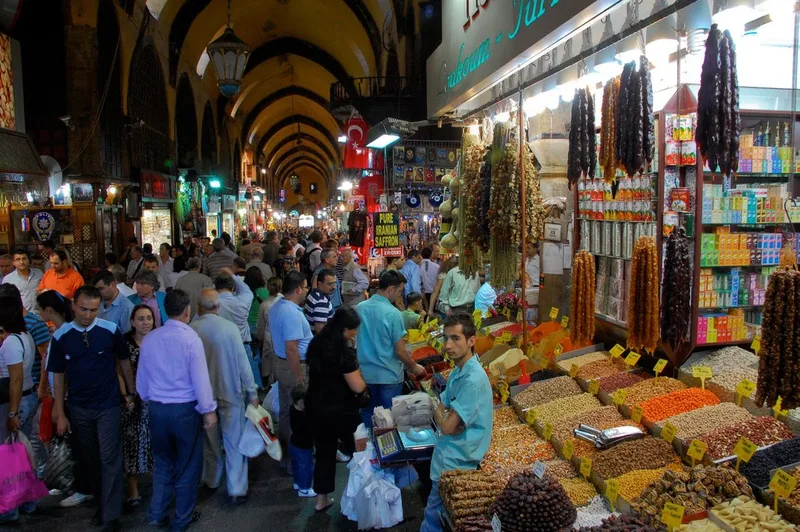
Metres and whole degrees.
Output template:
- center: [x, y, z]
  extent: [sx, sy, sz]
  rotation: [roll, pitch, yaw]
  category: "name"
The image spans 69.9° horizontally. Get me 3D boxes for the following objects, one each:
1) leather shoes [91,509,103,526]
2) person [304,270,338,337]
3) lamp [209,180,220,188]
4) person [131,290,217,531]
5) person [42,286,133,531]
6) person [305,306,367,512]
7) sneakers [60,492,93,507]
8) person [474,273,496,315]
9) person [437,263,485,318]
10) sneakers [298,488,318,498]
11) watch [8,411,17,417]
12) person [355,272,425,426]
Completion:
- center: [-2.921, 2.446, 5.515]
  extent: [0.073, 0.103, 0.236]
  rotation: [7, 21, -29]
  category: "leather shoes"
- center: [-0.920, 0.452, 6.626]
  extent: [0.342, 1.174, 0.493]
  rotation: [-3, 15, -19]
  category: "person"
- center: [-6.760, -2.999, 20.979]
  extent: [0.162, 0.276, 0.466]
  rotation: [-1, 4, 21]
  category: "lamp"
- center: [-2.125, 1.381, 5.440]
  extent: [0.728, 2.280, 0.265]
  rotation: [-2, 2, 8]
  category: "person"
- center: [-2.970, 1.352, 5.517]
  extent: [0.644, 1.751, 0.435]
  rotation: [-3, 2, -2]
  category: "person"
- center: [-0.636, 1.448, 5.696]
  extent: [0.597, 2.103, 0.574]
  rotation: [7, 12, 19]
  category: "person"
- center: [-3.302, 2.381, 5.882]
  extent: [0.314, 0.151, 0.124]
  rotation: [6, 2, -18]
  category: "sneakers"
- center: [1.239, 0.422, 8.242]
  extent: [0.299, 0.321, 0.918]
  rotation: [9, -35, 11]
  category: "person"
- center: [0.841, 0.400, 8.710]
  extent: [0.942, 1.049, 0.609]
  rotation: [1, -2, -6]
  category: "person"
- center: [-0.961, 2.347, 5.956]
  extent: [0.191, 0.094, 0.105]
  rotation: [0, 3, -10]
  category: "sneakers"
- center: [-3.664, 1.396, 5.385]
  extent: [0.054, 0.041, 0.054]
  rotation: [-4, -4, -7]
  category: "watch"
- center: [-0.103, 0.973, 6.388]
  extent: [0.792, 2.186, 0.649]
  rotation: [24, 33, 37]
  category: "person"
